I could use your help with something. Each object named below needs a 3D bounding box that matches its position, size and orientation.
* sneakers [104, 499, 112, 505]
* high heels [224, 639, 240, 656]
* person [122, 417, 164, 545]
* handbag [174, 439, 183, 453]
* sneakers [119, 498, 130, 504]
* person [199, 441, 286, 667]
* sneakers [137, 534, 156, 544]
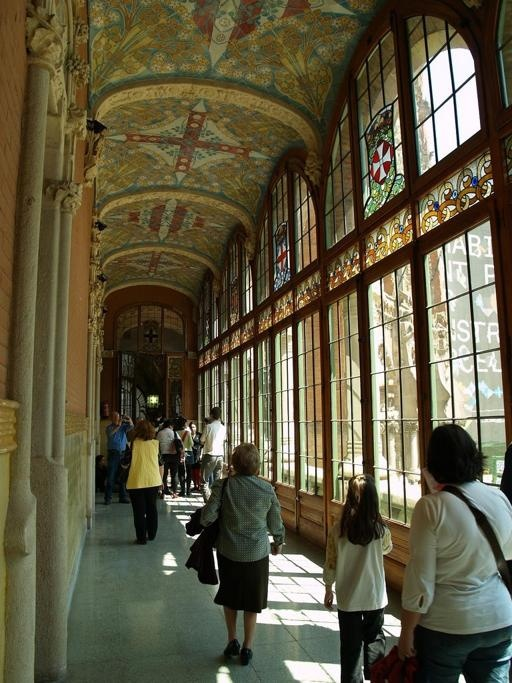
[{"bbox_3d":[-3.127,3.393,10.688,0.116,0.182,0.092,5,-15,-19],"label":"sneakers"},{"bbox_3d":[-0.150,1.951,3.226,0.048,0.072,0.145,0,-12,-9],"label":"high heels"},{"bbox_3d":[-1.526,1.911,6.907,0.440,1.634,0.645,2,-10,-11],"label":"person"},{"bbox_3d":[-1.594,2.110,10.433,0.202,0.309,0.198,8,-12,-34],"label":"handbag"},{"bbox_3d":[-2.821,3.407,10.840,0.192,0.101,0.102,-1,-4,1],"label":"sneakers"},{"bbox_3d":[-0.090,1.339,3.267,0.516,1.318,0.273,0,-10,3],"label":"person"},{"bbox_3d":[-1.503,2.685,6.889,0.155,0.088,0.238,-4,-6,16],"label":"sneakers"}]
